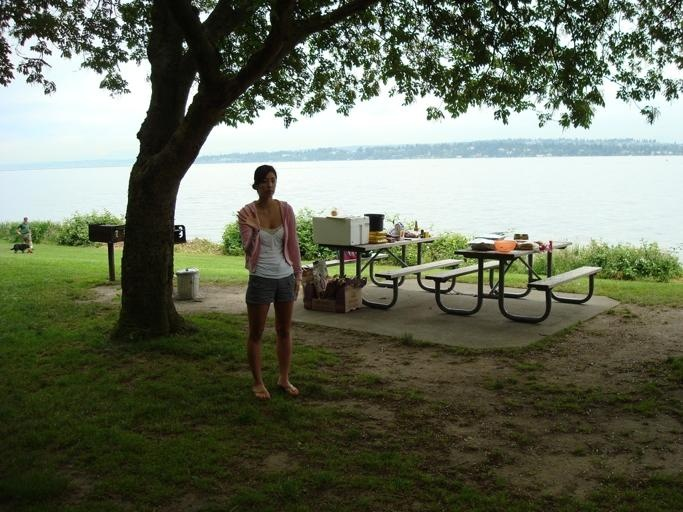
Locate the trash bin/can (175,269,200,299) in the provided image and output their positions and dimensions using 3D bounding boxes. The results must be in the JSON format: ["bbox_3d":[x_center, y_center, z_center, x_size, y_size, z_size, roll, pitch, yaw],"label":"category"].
[{"bbox_3d":[-2.949,0.556,11.186,0.520,0.533,0.542,0,1,-13],"label":"trash bin/can"}]

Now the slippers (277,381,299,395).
[{"bbox_3d":[-0.569,1.422,6.286,0.224,0.173,0.105,2,19,37],"label":"slippers"}]

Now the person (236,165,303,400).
[{"bbox_3d":[-0.749,0.268,6.131,0.631,2.447,0.614,0,11,-5],"label":"person"}]
